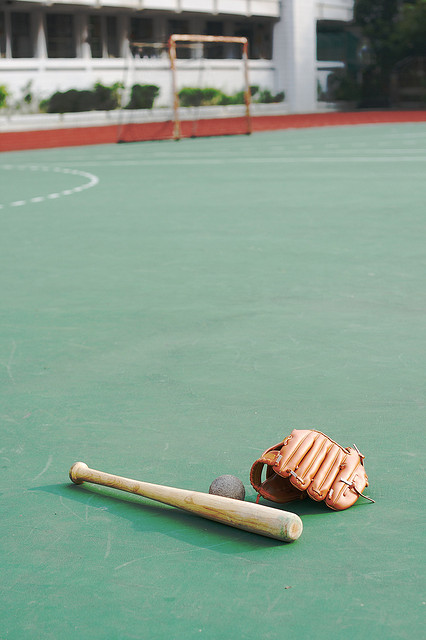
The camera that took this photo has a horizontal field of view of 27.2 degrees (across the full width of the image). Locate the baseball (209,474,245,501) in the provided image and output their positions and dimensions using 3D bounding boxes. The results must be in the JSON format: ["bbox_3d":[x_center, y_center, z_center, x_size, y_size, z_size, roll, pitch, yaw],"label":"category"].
[{"bbox_3d":[0.055,0.583,3.087,0.102,0.103,0.094,-9,4,-4],"label":"baseball"}]

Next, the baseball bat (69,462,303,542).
[{"bbox_3d":[-0.090,0.647,3.102,0.975,0.105,0.104,7,-21,26],"label":"baseball bat"}]

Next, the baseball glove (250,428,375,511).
[{"bbox_3d":[0.369,0.555,3.226,0.361,0.149,0.452,-7,15,-12],"label":"baseball glove"}]
